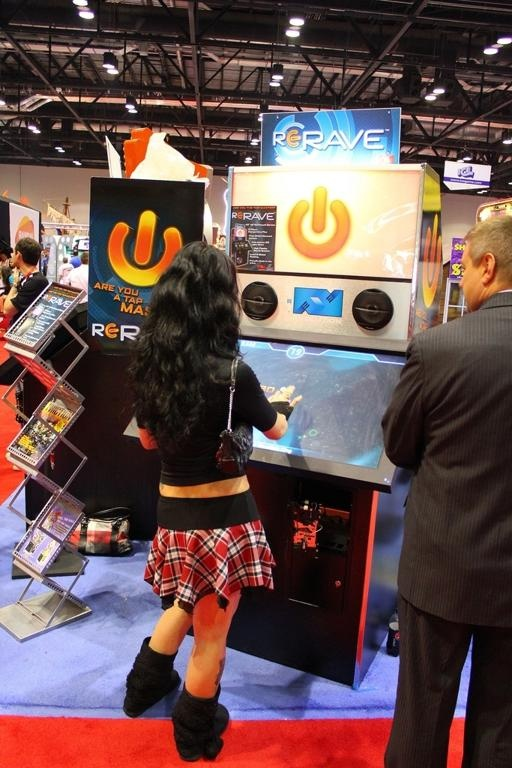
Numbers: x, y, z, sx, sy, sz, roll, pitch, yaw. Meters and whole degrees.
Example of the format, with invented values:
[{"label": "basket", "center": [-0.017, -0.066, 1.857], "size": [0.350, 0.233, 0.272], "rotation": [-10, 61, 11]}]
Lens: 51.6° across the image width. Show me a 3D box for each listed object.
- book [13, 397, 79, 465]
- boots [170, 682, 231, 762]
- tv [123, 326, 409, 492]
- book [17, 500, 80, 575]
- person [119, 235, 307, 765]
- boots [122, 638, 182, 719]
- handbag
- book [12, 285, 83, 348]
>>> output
[{"label": "book", "center": [-0.861, 0.220, 2.250], "size": [0.168, 0.317, 0.077], "rotation": [30, -10, 18]}, {"label": "boots", "center": [-0.160, 0.967, 1.489], "size": [0.108, 0.095, 0.234], "rotation": [1, 5, 4]}, {"label": "tv", "center": [0.121, 0.140, 1.865], "size": [0.598, 0.188, 0.883], "rotation": [14, 27, -10]}, {"label": "book", "center": [-0.872, 0.604, 2.234], "size": [0.087, 0.243, 0.356], "rotation": [48, 5, -44]}, {"label": "person", "center": [-0.142, 0.352, 1.477], "size": [0.424, 1.437, 0.485], "rotation": [2, 2, -14]}, {"label": "boots", "center": [-0.335, 0.934, 1.745], "size": [0.101, 0.190, 0.234], "rotation": [10, 1, -3]}, {"label": "handbag", "center": [-0.053, 0.092, 1.340], "size": [0.077, 0.310, 0.207], "rotation": [3, 2, 8]}, {"label": "book", "center": [-0.861, -0.270, 2.138], "size": [0.265, 0.290, 0.198], "rotation": [4, 3, 29]}]
